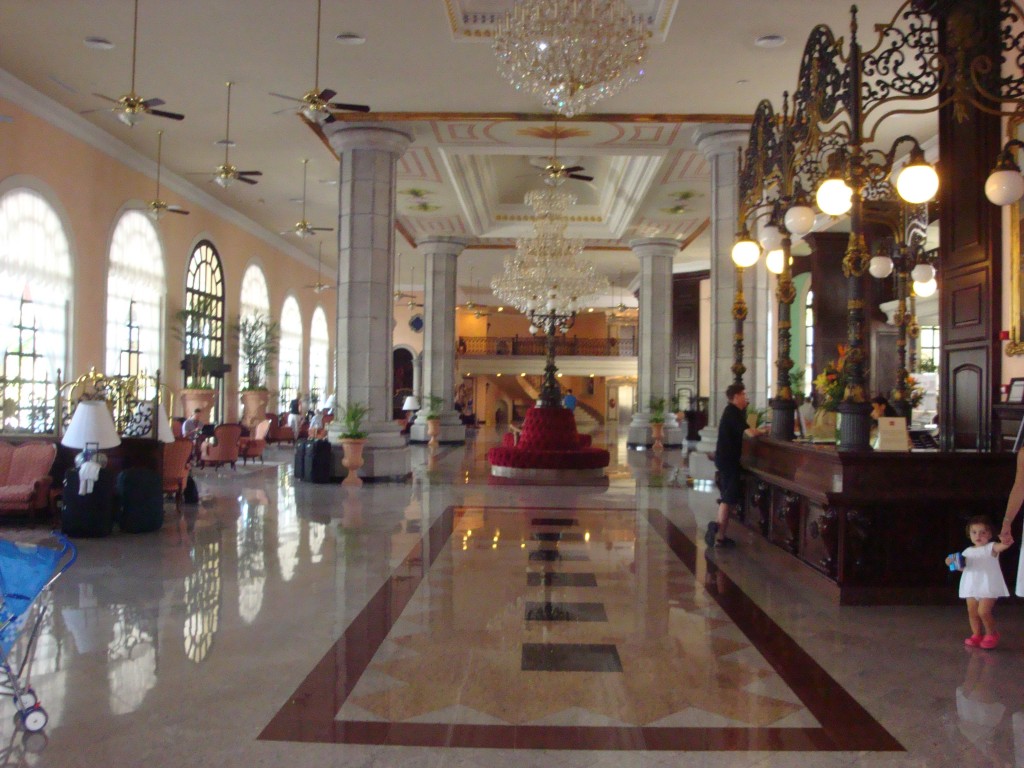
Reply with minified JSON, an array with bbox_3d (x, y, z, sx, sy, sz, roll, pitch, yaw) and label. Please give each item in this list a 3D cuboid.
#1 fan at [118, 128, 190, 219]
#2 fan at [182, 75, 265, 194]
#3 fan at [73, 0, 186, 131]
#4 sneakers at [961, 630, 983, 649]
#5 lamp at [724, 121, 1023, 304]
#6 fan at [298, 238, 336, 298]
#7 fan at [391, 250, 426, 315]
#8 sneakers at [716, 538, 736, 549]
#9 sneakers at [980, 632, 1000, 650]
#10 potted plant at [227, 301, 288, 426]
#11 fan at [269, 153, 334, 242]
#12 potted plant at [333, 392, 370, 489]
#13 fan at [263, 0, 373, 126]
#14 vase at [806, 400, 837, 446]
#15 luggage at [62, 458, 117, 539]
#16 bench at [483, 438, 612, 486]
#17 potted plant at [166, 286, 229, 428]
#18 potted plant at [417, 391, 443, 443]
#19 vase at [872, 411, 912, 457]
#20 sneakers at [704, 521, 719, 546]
[{"bbox_3d":[-5.775,-3.436,13.223,1.050,1.357,1.105,2,9,-23],"label":"fan"},{"bbox_3d":[-4.277,-3.779,12.169,1.176,1.505,1.214,9,10,25],"label":"fan"},{"bbox_3d":[-5.004,-4.218,10.623,1.191,1.515,1.269,-1,-1,6],"label":"fan"},{"bbox_3d":[3.393,1.886,5.930,0.079,0.064,0.140,-5,-12,42],"label":"sneakers"},{"bbox_3d":[3.136,-1.828,8.211,1.833,1.046,3.257,3,-6,-5],"label":"lamp"},{"bbox_3d":[-6.296,-3.737,26.681,1.441,1.859,1.496,0,-2,-17],"label":"fan"},{"bbox_3d":[-3.589,-3.790,28.337,1.154,2.385,2.067,0,-2,-2],"label":"fan"},{"bbox_3d":[2.211,1.663,8.434,0.220,0.107,0.094,0,4,-6],"label":"sneakers"},{"bbox_3d":[3.488,1.890,5.905,0.151,0.066,0.067,9,-15,-41],"label":"sneakers"},{"bbox_3d":[-6.484,-0.211,20.735,1.001,2.761,1.032,-2,-4,3],"label":"potted plant"},{"bbox_3d":[-4.049,-3.687,15.884,0.995,1.404,1.003,0,7,-23],"label":"fan"},{"bbox_3d":[-2.502,0.926,12.688,0.489,1.173,0.452,1,-7,-6],"label":"potted plant"},{"bbox_3d":[-2.539,-3.803,9.975,1.343,1.686,1.382,1,0,-2],"label":"fan"},{"bbox_3d":[3.157,0.417,8.317,0.322,0.369,0.342,0,-3,-3],"label":"vase"},{"bbox_3d":[-4.725,1.278,9.081,0.555,0.939,0.488,1,32,-29],"label":"luggage"},{"bbox_3d":[0.647,1.415,14.025,2.101,0.537,1.939,0,6,2],"label":"bench"},{"bbox_3d":[-6.896,-0.320,17.747,0.946,2.459,0.903,-1,4,-29],"label":"potted plant"},{"bbox_3d":[-2.091,0.885,20.822,0.569,1.217,0.831,1,6,10],"label":"potted plant"},{"bbox_3d":[3.264,0.432,7.033,0.355,0.384,0.285,0,2,10],"label":"vase"},{"bbox_3d":[2.050,1.544,8.394,0.175,0.288,0.094,-10,12,-23],"label":"sneakers"}]
